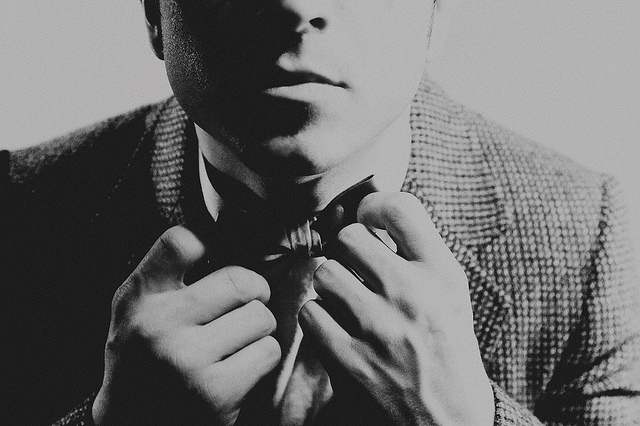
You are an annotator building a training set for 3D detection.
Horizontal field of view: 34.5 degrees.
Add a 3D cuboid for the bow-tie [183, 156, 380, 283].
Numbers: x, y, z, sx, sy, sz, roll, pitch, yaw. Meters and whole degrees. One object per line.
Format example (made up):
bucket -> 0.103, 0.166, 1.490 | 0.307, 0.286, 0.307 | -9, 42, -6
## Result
bow-tie -> -0.045, 0.041, 2.596 | 0.518, 0.198, 0.393 | -11, 2, -9
